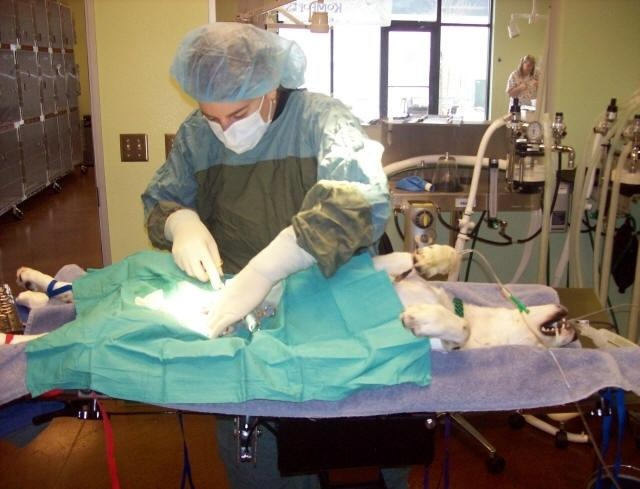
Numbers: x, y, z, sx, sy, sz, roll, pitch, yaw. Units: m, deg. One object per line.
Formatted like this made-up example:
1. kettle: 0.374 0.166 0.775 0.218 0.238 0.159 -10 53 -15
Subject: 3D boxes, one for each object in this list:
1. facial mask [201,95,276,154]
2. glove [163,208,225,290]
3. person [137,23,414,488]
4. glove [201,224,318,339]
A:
1. facial mask: -0.241 -0.437 1.869 0.210 0.241 0.117 19 43 22
2. glove: -0.428 0.001 1.991 0.074 0.163 0.296 -18 61 -26
3. person: -0.150 -0.056 1.915 0.666 1.322 0.919 -8 17 -31
4. glove: -0.244 0.063 1.854 0.579 0.163 0.187 38 9 38
